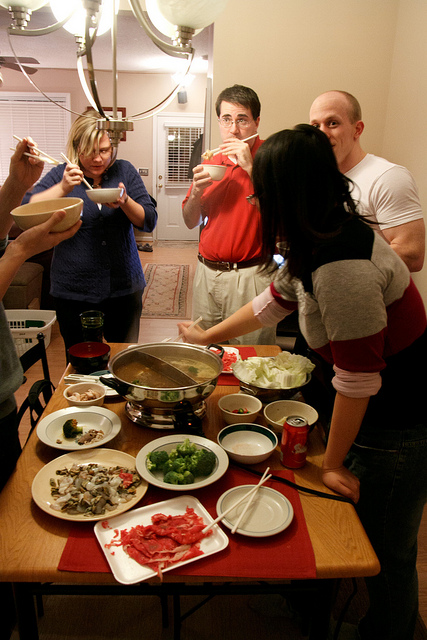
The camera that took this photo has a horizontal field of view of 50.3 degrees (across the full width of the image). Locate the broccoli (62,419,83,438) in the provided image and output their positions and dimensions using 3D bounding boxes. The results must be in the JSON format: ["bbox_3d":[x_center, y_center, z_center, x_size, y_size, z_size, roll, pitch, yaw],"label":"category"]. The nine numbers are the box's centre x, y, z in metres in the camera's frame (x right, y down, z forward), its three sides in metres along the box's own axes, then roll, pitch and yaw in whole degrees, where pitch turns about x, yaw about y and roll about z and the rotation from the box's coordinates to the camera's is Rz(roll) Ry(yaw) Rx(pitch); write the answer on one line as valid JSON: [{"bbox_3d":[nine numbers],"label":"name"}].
[{"bbox_3d":[-0.362,0.287,1.179,0.048,0.038,0.024,-1,10,-6],"label":"broccoli"}]

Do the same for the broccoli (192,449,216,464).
[{"bbox_3d":[-0.014,0.308,1.036,0.027,0.017,0.036,-10,11,-19],"label":"broccoli"}]

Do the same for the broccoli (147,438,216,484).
[{"bbox_3d":[-0.076,0.334,1.045,0.134,0.056,0.136,-16,16,-28],"label":"broccoli"}]

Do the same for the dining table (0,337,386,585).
[{"bbox_3d":[-0.104,0.257,1.188,0.754,0.206,0.926,0,20,-7],"label":"dining table"}]

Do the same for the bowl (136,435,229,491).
[{"bbox_3d":[-0.075,0.333,1.054,0.208,0.056,0.210,-9,7,1],"label":"bowl"}]

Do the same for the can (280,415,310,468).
[{"bbox_3d":[0.212,0.288,1.152,0.068,0.125,0.144,7,21,12],"label":"can"}]

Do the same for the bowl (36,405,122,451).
[{"bbox_3d":[-0.404,0.305,1.274,0.216,0.215,0.051,11,45,-36],"label":"bowl"}]

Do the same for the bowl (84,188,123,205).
[{"bbox_3d":[-0.455,-0.522,1.920,0.110,0.073,0.121,2,20,-1],"label":"bowl"}]

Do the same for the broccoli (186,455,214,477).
[{"bbox_3d":[-0.029,0.326,1.011,0.042,0.024,0.051,12,7,-9],"label":"broccoli"}]

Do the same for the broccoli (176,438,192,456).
[{"bbox_3d":[-0.065,0.307,1.098,0.031,0.038,0.030,9,-22,30],"label":"broccoli"}]

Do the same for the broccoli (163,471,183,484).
[{"bbox_3d":[-0.087,0.341,0.979,0.024,0.028,0.024,18,-29,-16],"label":"broccoli"}]

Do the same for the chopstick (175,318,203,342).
[{"bbox_3d":[-0.087,0.038,1.646,0.015,0.104,0.014,46,3,35],"label":"chopstick"}]

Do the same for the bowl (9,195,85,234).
[{"bbox_3d":[-0.461,-0.296,1.264,0.176,0.085,0.307,-5,22,-21],"label":"bowl"}]

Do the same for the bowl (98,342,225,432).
[{"bbox_3d":[-0.142,0.186,1.320,0.308,0.159,0.362,12,21,25],"label":"bowl"}]

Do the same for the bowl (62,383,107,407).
[{"bbox_3d":[-0.392,0.228,1.390,0.087,0.036,0.086,1,12,0],"label":"bowl"}]

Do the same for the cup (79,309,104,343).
[{"bbox_3d":[-0.447,0.023,1.729,0.111,0.156,0.110,0,8,0],"label":"cup"}]
